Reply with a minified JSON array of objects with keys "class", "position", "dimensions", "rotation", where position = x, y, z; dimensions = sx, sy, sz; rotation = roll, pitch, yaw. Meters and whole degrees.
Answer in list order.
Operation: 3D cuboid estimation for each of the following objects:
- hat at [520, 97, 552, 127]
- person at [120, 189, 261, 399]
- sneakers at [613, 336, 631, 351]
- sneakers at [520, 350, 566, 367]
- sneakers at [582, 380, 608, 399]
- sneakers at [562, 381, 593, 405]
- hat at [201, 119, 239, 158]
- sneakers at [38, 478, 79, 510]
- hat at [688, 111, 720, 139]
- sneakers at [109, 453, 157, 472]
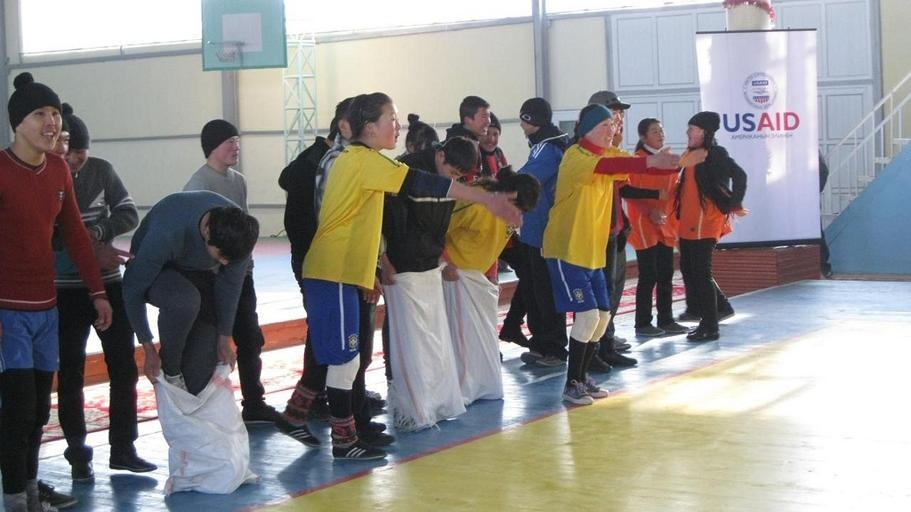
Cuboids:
[{"class":"hat","position":[0.793,-1.408,7.053],"dimensions":[0.339,0.256,0.230],"rotation":[-6,40,-1]},{"class":"person","position":[-1.671,0.254,4.662],"dimensions":[0.850,1.316,0.422],"rotation":[-4,10,-3]},{"class":"sneakers","position":[1.686,0.880,7.336],"dimensions":[0.095,0.101,0.256],"rotation":[3,7,20]},{"class":"sneakers","position":[0.866,0.976,6.981],"dimensions":[0.296,0.104,0.171],"rotation":[1,-2,-26]},{"class":"sneakers","position":[1.118,1.102,5.993],"dimensions":[0.240,0.094,0.104],"rotation":[3,6,39]},{"class":"sneakers","position":[0.953,1.111,5.895],"dimensions":[0.283,0.119,0.128],"rotation":[0,2,41]},{"class":"hat","position":[-1.880,-0.920,5.749],"dimensions":[0.283,0.253,0.288],"rotation":[-11,2,37]},{"class":"sneakers","position":[-2.579,1.507,4.623],"dimensions":[0.348,0.121,0.112],"rotation":[6,11,13]},{"class":"hat","position":[2.529,-1.348,7.470],"dimensions":[0.346,0.253,0.253],"rotation":[9,18,19]},{"class":"sneakers","position":[-2.193,1.413,5.006],"dimensions":[0.349,0.124,0.120],"rotation":[4,0,-3]}]
